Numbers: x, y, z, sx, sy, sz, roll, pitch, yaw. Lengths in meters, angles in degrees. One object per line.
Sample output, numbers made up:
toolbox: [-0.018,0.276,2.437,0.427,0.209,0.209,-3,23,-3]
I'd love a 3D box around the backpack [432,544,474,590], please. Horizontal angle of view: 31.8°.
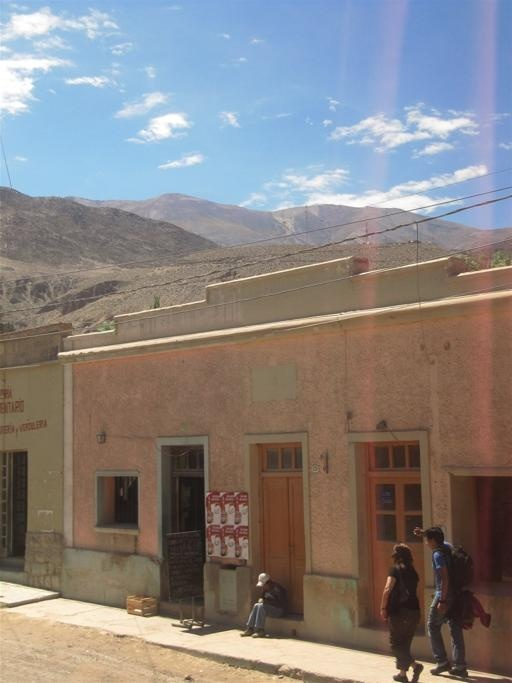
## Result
backpack: [2.093,2.369,9.419,0.546,0.523,0.368,-6,-20,10]

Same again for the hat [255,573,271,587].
hat: [0.108,3.233,12.083,0.189,0.145,0.278,-8,1,22]

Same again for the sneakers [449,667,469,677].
sneakers: [2.133,3.508,9.497,0.198,0.131,0.115,-5,-11,17]

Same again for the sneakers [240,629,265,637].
sneakers: [-0.021,3.895,11.960,0.349,0.126,0.113,-2,-18,16]

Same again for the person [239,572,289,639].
person: [0.106,3.540,12.016,0.608,0.802,0.332,-2,-10,0]

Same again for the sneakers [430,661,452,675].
sneakers: [1.981,3.521,9.655,0.285,0.182,0.093,-2,-7,4]
